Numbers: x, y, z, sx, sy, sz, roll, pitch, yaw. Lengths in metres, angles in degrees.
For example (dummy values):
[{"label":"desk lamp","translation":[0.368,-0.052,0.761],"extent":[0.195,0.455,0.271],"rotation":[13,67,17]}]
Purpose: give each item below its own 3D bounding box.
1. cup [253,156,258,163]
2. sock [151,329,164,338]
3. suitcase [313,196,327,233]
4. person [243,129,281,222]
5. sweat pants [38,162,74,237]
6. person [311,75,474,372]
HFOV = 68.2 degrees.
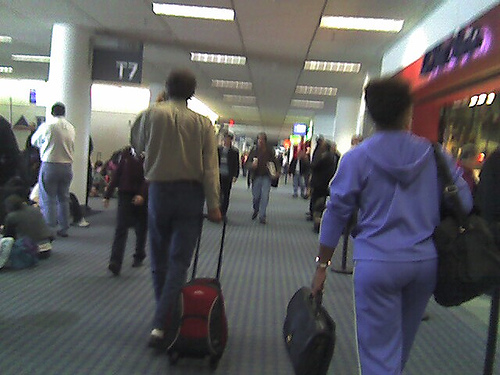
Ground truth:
[{"label":"cup","translation":[0.146,-0.684,8.946],"extent":[0.109,0.154,0.090],"rotation":[4,7,-3]},{"label":"sock","translation":[-0.763,1.217,3.077],"extent":[0.090,0.062,0.030],"rotation":[13,-42,-45]},{"label":"suitcase","translation":[1.439,0.603,7.673],"extent":[0.185,0.861,0.987],"rotation":[5,8,10]},{"label":"person","translation":[0.294,-0.249,9.105],"extent":[0.844,2.170,1.081],"rotation":[4,7,-1]},{"label":"sweat pants","translation":[-3.304,0.204,6.295],"extent":[0.467,1.330,0.550],"rotation":[8,8,28]},{"label":"person","translation":[0.815,0.191,2.115],"extent":[0.832,1.677,0.445],"rotation":[6,7,12]}]
